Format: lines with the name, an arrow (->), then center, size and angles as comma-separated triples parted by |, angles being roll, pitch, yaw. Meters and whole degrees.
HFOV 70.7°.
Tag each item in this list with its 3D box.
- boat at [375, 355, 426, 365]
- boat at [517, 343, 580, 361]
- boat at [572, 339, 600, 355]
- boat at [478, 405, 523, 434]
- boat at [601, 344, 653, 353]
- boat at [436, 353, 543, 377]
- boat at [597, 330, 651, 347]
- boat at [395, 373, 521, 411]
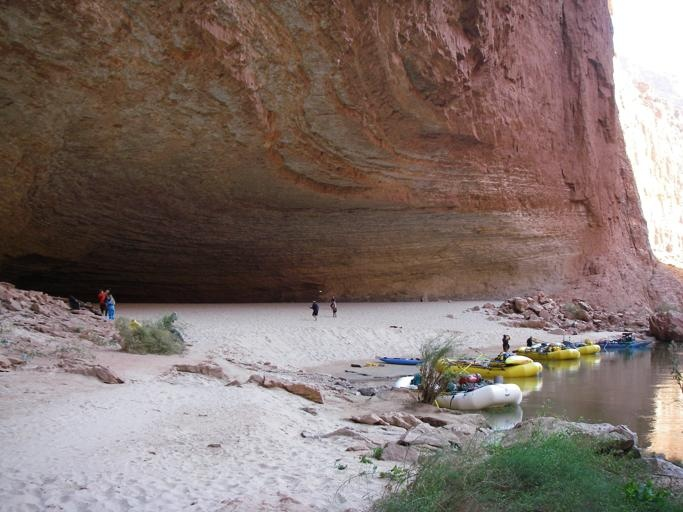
boat -> 1.796, 3.288, 15.208 | 1.313, 0.178, 1.240 | -1, -4, 2
boat -> 7.155, 3.323, 16.644 | 1.293, 0.333, 0.994 | -1, -1, 3
boat -> 9.094, 3.400, 17.914 | 0.784, 0.219, 0.780 | -5, 6, -44
boat -> 3.360, 3.300, 9.926 | 0.921, 0.298, 0.788 | -3, -7, -6
boat -> 11.095, 3.596, 18.817 | 2.290, 0.292, 0.590 | -1, -1, 6
boat -> 4.305, 3.119, 13.587 | 2.815, 0.630, 1.836 | 0, -4, -3
boat -> 11.414, 3.412, 19.171 | 2.143, 0.516, 0.994 | 0, -2, 3
boat -> 2.967, 2.963, 10.233 | 2.034, 0.351, 1.087 | -1, 0, -19
